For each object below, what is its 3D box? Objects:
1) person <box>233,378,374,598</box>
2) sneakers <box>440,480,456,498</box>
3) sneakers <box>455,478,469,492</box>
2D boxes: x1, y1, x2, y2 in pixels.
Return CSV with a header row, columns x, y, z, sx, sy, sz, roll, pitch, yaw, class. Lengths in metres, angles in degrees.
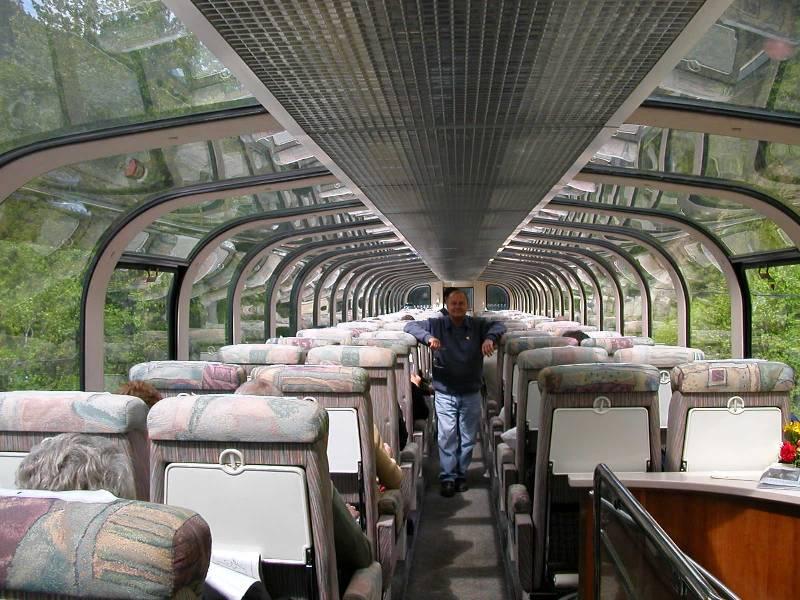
x,y,z,sx,sy,sz,roll,pitch,yaw,class
-0.472,0.939,2.919,0.666,1.089,0.598,0,-2,-3,person
0.590,2.335,7.497,0.175,0.181,0.211,-4,4,2,sneakers
0.792,2.358,7.738,0.111,0.090,0.230,0,-3,5,sneakers
